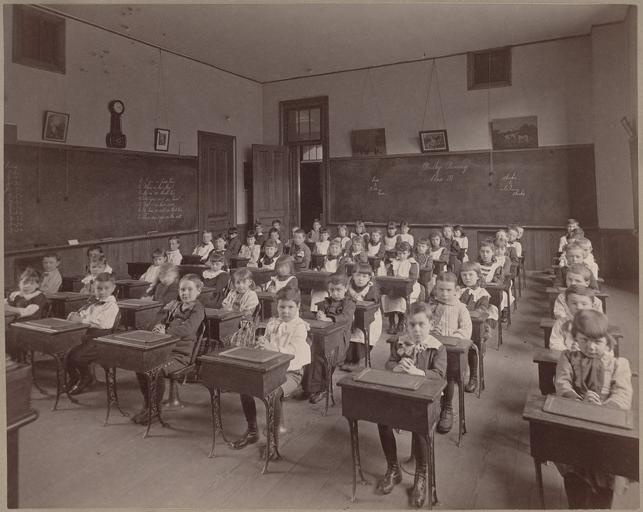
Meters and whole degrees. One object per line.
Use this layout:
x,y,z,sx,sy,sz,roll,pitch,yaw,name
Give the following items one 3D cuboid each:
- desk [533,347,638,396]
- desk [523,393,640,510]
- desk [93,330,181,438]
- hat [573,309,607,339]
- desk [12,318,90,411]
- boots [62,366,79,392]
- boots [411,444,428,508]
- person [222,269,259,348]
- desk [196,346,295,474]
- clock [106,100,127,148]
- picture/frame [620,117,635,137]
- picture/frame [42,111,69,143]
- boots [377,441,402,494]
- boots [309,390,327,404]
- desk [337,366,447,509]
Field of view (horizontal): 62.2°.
1.824,0.865,4.092,0.386,0.389,0.272,-2,-5,17,desk
1.661,1.134,3.466,0.633,0.640,0.506,7,26,26,desk
-1.577,1.070,4.460,0.577,0.707,0.477,2,-3,25,desk
1.815,0.455,3.601,0.153,0.183,0.218,-2,13,24,hat
-2.343,0.944,4.660,0.720,0.777,0.478,-1,-2,37,desk
-2.340,1.165,5.012,0.157,0.213,0.211,2,-3,-12,boots
0.669,1.473,3.660,0.125,0.419,0.169,-1,-4,30,boots
-0.834,0.573,5.391,0.343,0.835,0.371,10,10,39,person
-0.570,1.147,4.062,0.692,0.872,0.413,1,6,23,desk
-3.233,-2.084,8.454,0.233,0.738,0.368,2,7,31,clock
4.902,-2.069,8.559,0.106,0.432,0.153,-21,-25,19,picture/frame
-3.833,-1.856,7.647,0.064,0.551,0.481,4,4,33,picture/frame
0.465,1.520,3.774,0.133,0.317,0.316,-8,-4,31,boots
-0.040,1.314,4.893,0.058,0.078,0.189,-6,-12,24,boots
0.493,1.292,3.726,0.805,1.018,0.405,3,9,31,desk
